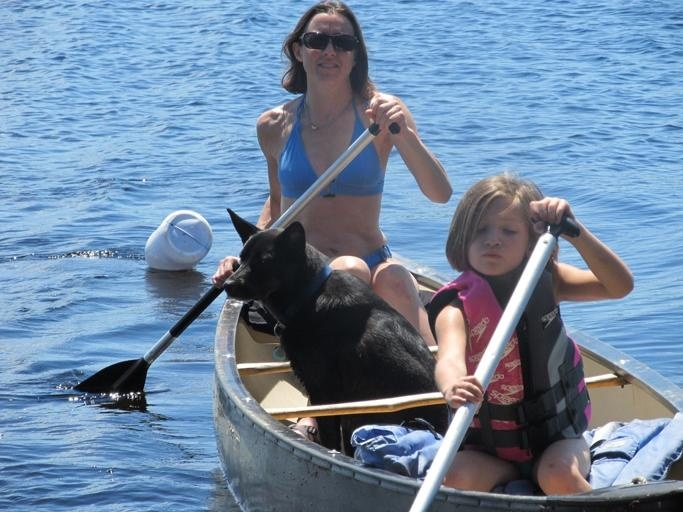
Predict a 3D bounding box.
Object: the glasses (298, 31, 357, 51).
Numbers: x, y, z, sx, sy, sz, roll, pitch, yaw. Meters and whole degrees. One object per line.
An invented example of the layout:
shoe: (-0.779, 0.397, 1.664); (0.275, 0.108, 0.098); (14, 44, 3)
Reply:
glasses: (-0.091, -1.788, 10.810); (0.468, 0.145, 0.125); (2, 22, -1)

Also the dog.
dog: (-0.015, 0.716, 10.246); (0.829, 1.761, 2.824); (11, -9, 45)

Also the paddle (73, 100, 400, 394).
paddle: (-0.998, -0.029, 12.192); (0.351, 4.492, 0.735); (24, 25, -48)

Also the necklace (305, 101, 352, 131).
necklace: (-0.136, -1.169, 10.925); (0.240, 0.304, 0.057); (8, -7, 13)
